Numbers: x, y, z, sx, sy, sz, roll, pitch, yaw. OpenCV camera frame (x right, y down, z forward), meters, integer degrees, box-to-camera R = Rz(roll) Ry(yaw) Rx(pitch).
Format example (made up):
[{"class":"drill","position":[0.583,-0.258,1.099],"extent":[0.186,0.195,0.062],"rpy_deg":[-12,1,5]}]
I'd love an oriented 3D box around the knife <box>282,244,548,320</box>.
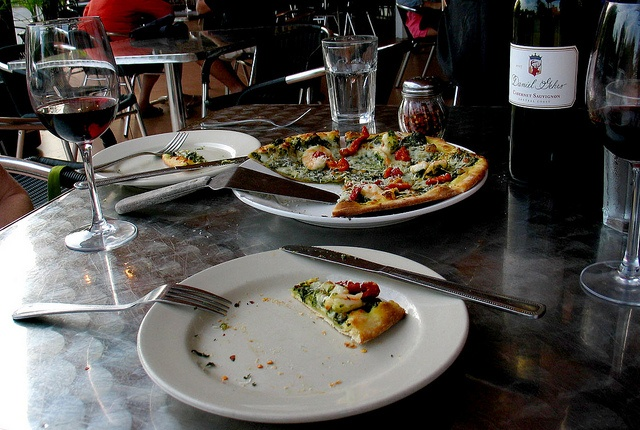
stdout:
[{"class":"knife","position":[0.121,0.092,0.636],"extent":[0.300,0.015,0.039],"rpy_deg":[12,43,32]}]

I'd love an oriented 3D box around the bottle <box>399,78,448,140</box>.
[{"class":"bottle","position":[0.225,-0.233,1.089],"extent":[0.116,0.152,0.109],"rpy_deg":[-1,36,1]}]

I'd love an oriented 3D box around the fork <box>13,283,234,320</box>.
[{"class":"fork","position":[-0.253,0.117,0.638],"extent":[0.287,0.036,0.036],"rpy_deg":[0,41,7]}]

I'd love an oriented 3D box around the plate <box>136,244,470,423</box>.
[{"class":"plate","position":[-0.025,0.143,0.574],"extent":[0.351,0.071,0.280],"rpy_deg":[12,28,30]}]
